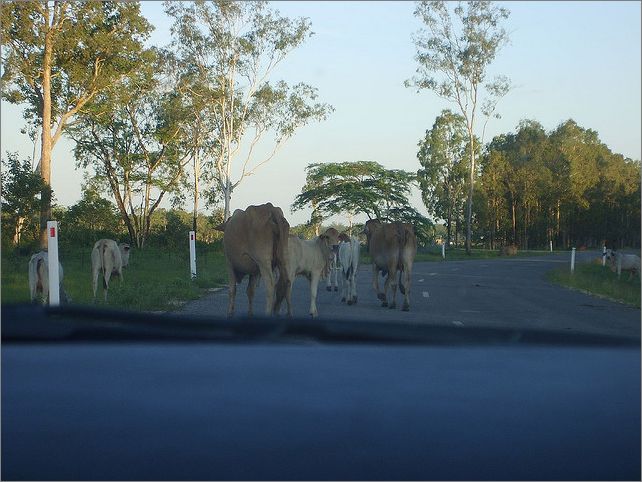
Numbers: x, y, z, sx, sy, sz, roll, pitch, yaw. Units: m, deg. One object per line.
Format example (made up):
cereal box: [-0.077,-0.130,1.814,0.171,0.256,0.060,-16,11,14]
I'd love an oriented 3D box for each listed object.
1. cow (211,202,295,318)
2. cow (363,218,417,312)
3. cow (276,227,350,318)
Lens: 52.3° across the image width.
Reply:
cow: [-1.046,0.305,9.412,0.782,1.700,1.970,0,-4,-33]
cow: [1.490,0.498,15.045,0.736,2.094,3.008,1,0,-8]
cow: [-0.307,0.512,10.733,0.464,1.600,1.842,1,-2,34]
